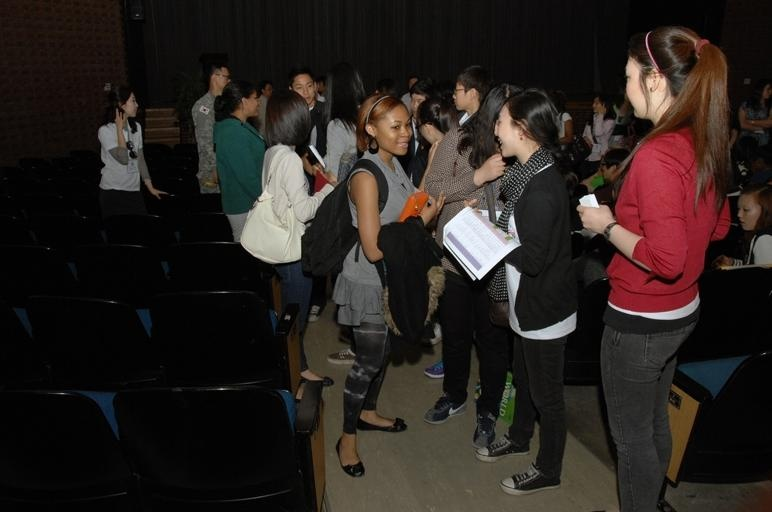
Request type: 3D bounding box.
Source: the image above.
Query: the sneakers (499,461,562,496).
[{"bbox_3d":[0.732,1.174,2.651,0.365,0.168,0.128,1,14,-2],"label":"sneakers"}]

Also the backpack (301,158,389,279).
[{"bbox_3d":[-0.135,-0.250,2.708,0.512,0.650,0.442,5,24,2],"label":"backpack"}]

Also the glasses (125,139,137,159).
[{"bbox_3d":[-2.246,-0.920,4.355,0.040,0.126,0.126,-14,-9,-21],"label":"glasses"}]

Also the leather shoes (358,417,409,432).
[{"bbox_3d":[-0.031,1.019,2.968,0.268,0.084,0.117,-4,-2,3],"label":"leather shoes"}]

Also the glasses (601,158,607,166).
[{"bbox_3d":[3.062,-1.316,6.977,0.087,0.045,0.125,-5,37,5],"label":"glasses"}]

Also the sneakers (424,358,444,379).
[{"bbox_3d":[0.340,0.788,3.453,0.205,0.102,0.089,2,2,4],"label":"sneakers"}]

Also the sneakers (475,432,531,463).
[{"bbox_3d":[0.646,1.089,2.858,0.347,0.163,0.123,-1,16,-4],"label":"sneakers"}]

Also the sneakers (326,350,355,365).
[{"bbox_3d":[-0.320,0.730,3.599,0.231,0.100,0.087,2,6,-3],"label":"sneakers"}]

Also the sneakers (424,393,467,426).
[{"bbox_3d":[0.355,0.944,3.127,0.306,0.151,0.122,-12,24,-20],"label":"sneakers"}]

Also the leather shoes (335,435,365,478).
[{"bbox_3d":[-0.199,1.117,2.720,0.097,0.062,0.256,-6,36,-22],"label":"leather shoes"}]

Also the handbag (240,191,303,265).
[{"bbox_3d":[-0.659,-0.145,2.885,0.297,0.318,0.152,24,17,1],"label":"handbag"}]

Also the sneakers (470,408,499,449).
[{"bbox_3d":[0.568,0.975,2.884,0.099,0.100,0.233,5,45,8],"label":"sneakers"}]
